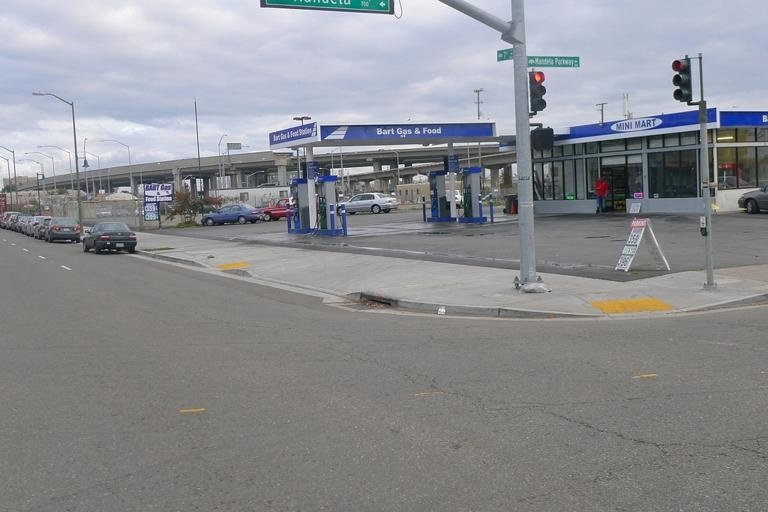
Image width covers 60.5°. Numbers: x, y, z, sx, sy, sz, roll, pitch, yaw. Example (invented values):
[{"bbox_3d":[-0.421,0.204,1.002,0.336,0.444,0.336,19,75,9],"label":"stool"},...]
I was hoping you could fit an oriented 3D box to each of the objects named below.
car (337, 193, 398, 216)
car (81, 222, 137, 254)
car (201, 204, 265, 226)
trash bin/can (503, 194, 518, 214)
[{"bbox_3d":[-1.331,-4.805,59.631,5.598,1.638,2.238,2,3,-2],"label":"car"},{"bbox_3d":[-13.496,-0.900,32.380,2.994,1.478,1.571,3,8,44],"label":"car"},{"bbox_3d":[-13.255,-3.552,57.354,4.786,1.461,2.077,1,1,3],"label":"car"},{"bbox_3d":[8.676,-3.568,45.085,0.745,1.323,2.022,-1,5,6],"label":"trash bin/can"}]
